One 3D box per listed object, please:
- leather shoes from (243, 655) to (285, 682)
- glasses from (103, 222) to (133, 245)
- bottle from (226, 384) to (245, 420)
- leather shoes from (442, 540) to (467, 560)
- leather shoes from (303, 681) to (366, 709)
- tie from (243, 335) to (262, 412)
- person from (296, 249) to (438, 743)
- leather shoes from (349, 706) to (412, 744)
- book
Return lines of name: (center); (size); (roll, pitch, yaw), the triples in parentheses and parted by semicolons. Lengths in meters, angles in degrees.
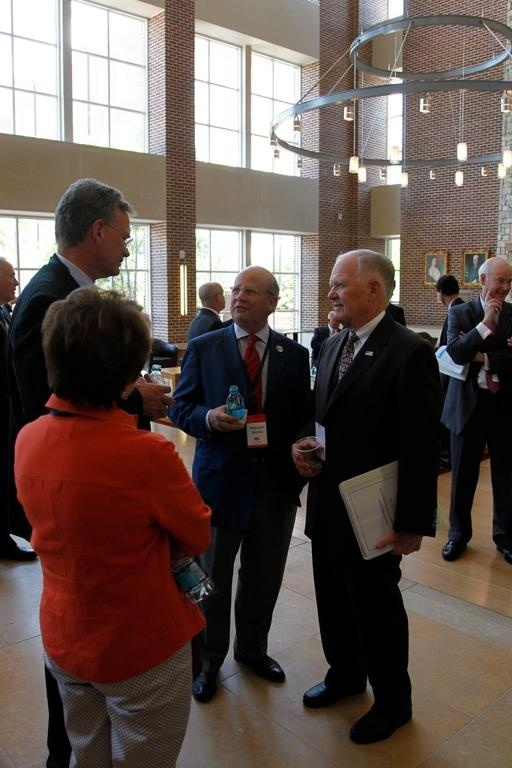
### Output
leather shoes: (0.030, 1.124, 2.485); (0.171, 0.068, 0.059); (0, 0, 43)
glasses: (-0.408, -0.448, 1.828); (0.024, 0.075, 0.072); (-1, 5, 16)
bottle: (-0.073, 0.060, 2.217); (0.069, 0.116, 0.230); (0, 5, -3)
leather shoes: (1.197, 0.991, 3.758); (0.070, 0.083, 0.212); (1, 2, 36)
leather shoes: (0.275, 1.116, 2.302); (0.245, 0.096, 0.082); (3, 1, -21)
tie: (-0.012, -0.041, 2.373); (0.064, 0.290, 0.085); (0, 5, 1)
person: (0.343, 0.371, 2.066); (0.438, 1.625, 0.565); (-1, 5, -17)
leather shoes: (0.420, 1.128, 2.122); (0.224, 0.094, 0.081); (-2, -3, -33)
book: (0.351, 0.381, 1.848); (0.274, 0.279, 0.066); (-23, 8, -16)
